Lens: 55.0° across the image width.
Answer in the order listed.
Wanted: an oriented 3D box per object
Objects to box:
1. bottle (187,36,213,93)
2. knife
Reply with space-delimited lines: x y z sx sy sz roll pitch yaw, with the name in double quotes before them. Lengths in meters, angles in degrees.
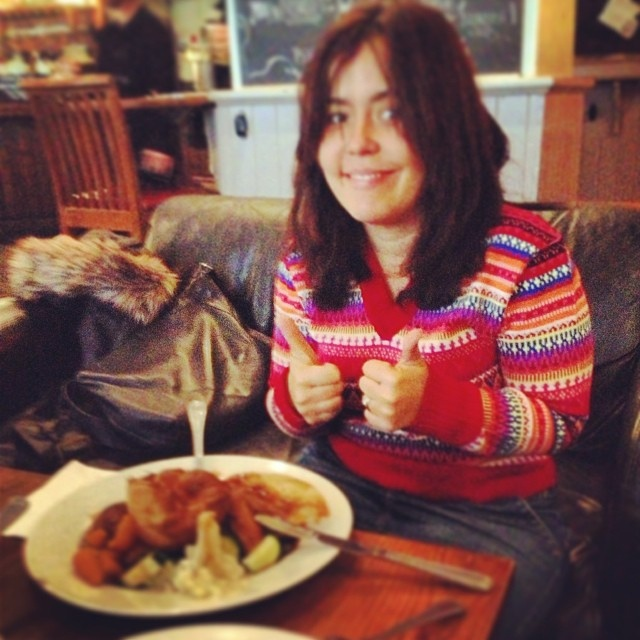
"bottle" -0.124 -0.255 0.616 0.027 0.051 0.010 -6 20 -10
"knife" 0.044 0.208 0.544 0.231 0.012 0.030 13 28 20
